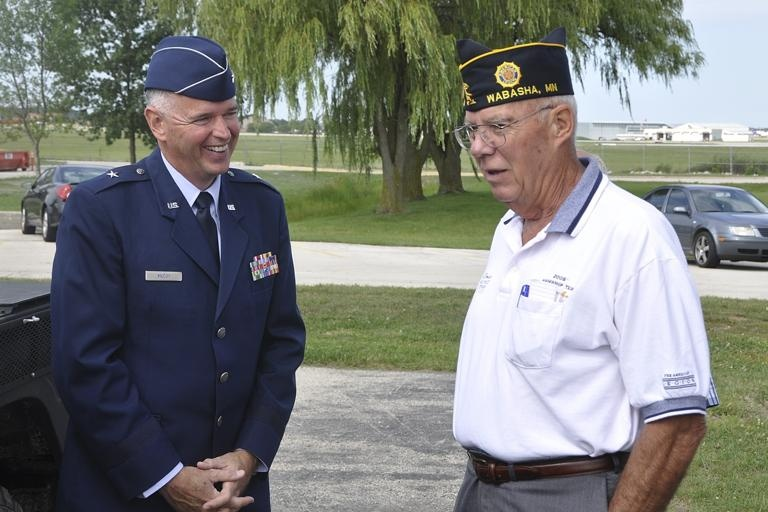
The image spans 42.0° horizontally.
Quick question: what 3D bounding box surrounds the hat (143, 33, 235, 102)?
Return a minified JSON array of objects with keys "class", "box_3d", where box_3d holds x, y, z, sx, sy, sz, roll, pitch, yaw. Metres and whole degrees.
[{"class":"hat","box_3d":[-1.260,-1.241,6.406,0.464,0.314,0.382,9,17,23]}]
